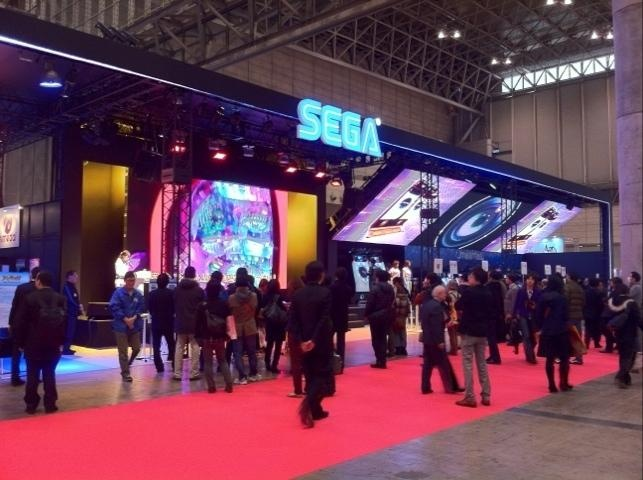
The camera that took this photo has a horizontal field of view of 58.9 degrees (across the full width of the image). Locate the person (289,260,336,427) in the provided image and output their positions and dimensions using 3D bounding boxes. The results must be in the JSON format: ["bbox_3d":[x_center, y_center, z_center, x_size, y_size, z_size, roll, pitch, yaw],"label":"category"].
[{"bbox_3d":[-0.133,1.337,7.344,0.548,2.084,0.465,0,0,-3],"label":"person"}]

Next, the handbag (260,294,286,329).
[{"bbox_3d":[-0.833,1.219,9.701,0.557,0.591,0.322,3,-12,-14],"label":"handbag"}]

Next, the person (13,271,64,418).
[{"bbox_3d":[-3.795,1.394,7.692,0.580,1.895,0.385,0,0,-15],"label":"person"}]

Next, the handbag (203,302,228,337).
[{"bbox_3d":[-1.672,1.229,8.783,0.460,0.640,0.320,1,-6,-19],"label":"handbag"}]

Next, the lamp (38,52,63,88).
[{"bbox_3d":[-5.722,-3.555,11.896,0.597,0.657,0.555,-3,8,-15],"label":"lamp"}]

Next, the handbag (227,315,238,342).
[{"bbox_3d":[-1.440,1.414,9.090,0.114,0.462,0.438,0,0,-3],"label":"handbag"}]
